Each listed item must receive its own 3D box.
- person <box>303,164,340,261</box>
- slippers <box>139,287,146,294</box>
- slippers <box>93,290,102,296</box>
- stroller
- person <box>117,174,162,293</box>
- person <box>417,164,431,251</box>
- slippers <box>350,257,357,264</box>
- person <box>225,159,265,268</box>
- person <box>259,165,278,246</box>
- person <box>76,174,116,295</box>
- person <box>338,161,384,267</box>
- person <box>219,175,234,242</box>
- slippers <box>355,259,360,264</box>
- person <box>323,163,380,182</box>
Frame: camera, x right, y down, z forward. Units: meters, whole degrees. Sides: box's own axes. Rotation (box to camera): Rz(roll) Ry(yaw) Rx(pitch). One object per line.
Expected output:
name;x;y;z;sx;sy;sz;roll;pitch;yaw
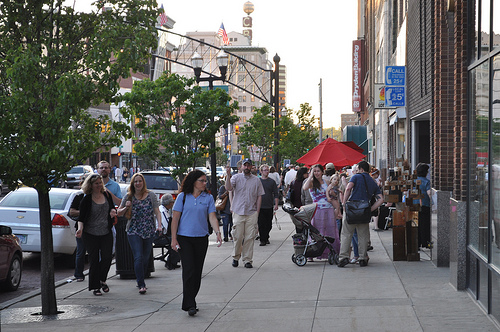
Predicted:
person;1.812;1.153;15.862;0.900;2.458;0.632;-2;-1;-3
slippers;-2.172;2.532;12.709;0.080;0.087;0.189;1;1;-4
slippers;-3.062;2.557;12.698;0.178;0.116;0.211;-3;3;-18
stroller;1.555;1.675;15.483;1.085;1.512;0.664;-2;3;0
person;-2.289;1.372;13.064;0.629;2.411;0.856;-1;3;16
person;4.684;0.883;16.974;0.527;2.060;0.512;-19;23;-36
slippers;2.532;2.336;15.464;0.102;0.135;0.322;-1;-7;6
person;-0.123;1.134;15.729;0.815;2.471;1.132;0;0;-2
person;0.526;1.218;19.474;0.669;2.362;0.697;0;-1;7
person;-3.096;1.382;12.748;0.778;2.453;0.449;-2;3;-15
person;2.657;1.155;15.149;0.898;2.633;0.868;6;-4;1
person;-0.808;1.440;20.249;0.528;2.319;0.551;0;-1;0
slippers;2.576;2.317;15.142;0.094;0.106;0.101;2;4;14
person;3.007;0.173;18.984;0.699;0.686;2.021;-1;-2;-29
